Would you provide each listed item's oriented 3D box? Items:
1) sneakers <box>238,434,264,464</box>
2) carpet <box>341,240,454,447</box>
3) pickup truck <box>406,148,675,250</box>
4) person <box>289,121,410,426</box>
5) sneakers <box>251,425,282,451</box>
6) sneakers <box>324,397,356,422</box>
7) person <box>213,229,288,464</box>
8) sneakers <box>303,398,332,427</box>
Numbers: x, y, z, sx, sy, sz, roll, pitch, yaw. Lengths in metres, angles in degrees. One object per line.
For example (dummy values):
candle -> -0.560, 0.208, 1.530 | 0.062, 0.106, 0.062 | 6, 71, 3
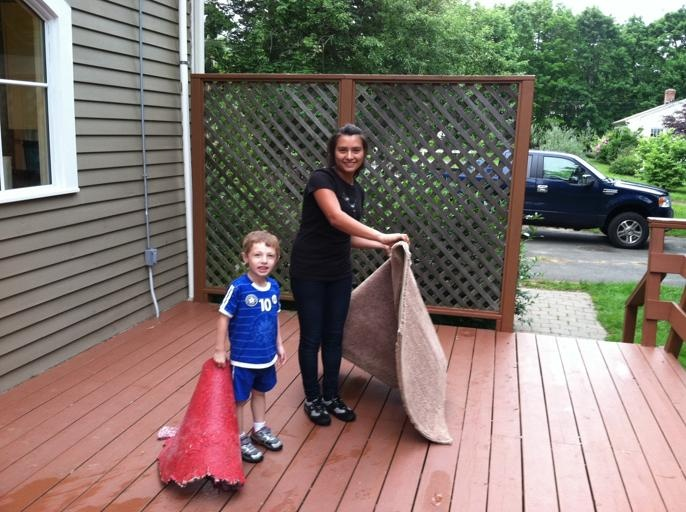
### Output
sneakers -> -0.509, 1.074, 2.979 | 0.185, 0.088, 0.082 | 2, 1, 43
carpet -> 0.323, 0.370, 3.570 | 0.537, 1.086, 0.991 | -28, 47, -31
pickup truck -> 4.701, -1.151, 11.827 | 5.168, 2.292, 2.281 | 2, 15, 8
person -> -0.031, 0.135, 3.292 | 0.565, 1.830, 0.479 | -5, 15, -25
sneakers -> -0.437, 1.062, 3.127 | 0.200, 0.096, 0.095 | 14, 12, 20
sneakers -> -0.019, 0.991, 3.459 | 0.244, 0.102, 0.098 | 13, 16, 31
person -> -0.499, 0.494, 2.975 | 0.329, 1.257, 0.390 | 4, 14, 11
sneakers -> -0.160, 0.983, 3.358 | 0.090, 0.101, 0.216 | -3, 7, -34
